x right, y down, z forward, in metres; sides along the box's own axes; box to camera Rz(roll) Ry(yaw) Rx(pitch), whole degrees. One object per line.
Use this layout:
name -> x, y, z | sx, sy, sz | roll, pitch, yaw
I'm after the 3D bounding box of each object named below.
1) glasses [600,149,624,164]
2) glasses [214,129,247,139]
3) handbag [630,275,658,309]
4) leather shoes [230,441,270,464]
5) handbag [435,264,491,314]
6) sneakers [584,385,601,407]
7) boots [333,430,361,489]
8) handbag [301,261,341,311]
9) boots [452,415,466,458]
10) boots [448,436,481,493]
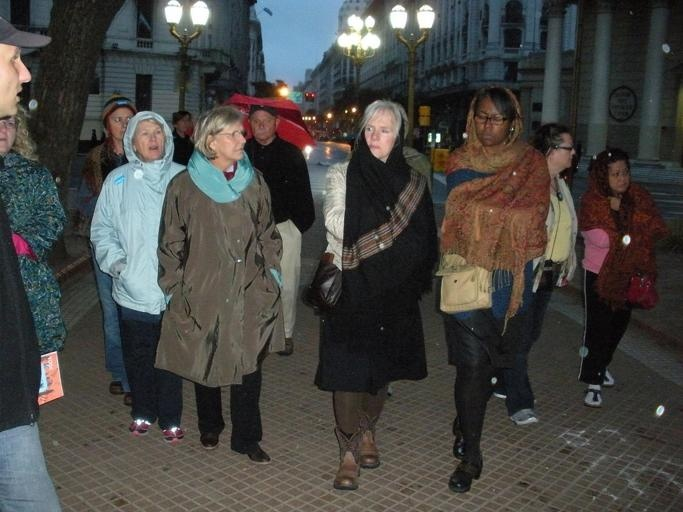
glasses -> 2.375, -0.882, 5.420 | 0.195, 0.156, 0.044 | -1, -31, 11
glasses -> -0.749, -0.839, 4.184 | 0.219, 0.082, 0.070 | -8, 16, -39
handbag -> 2.630, 0.311, 5.372 | 0.255, 0.288, 0.107 | 3, -3, 2
leather shoes -> -0.626, 1.390, 4.392 | 0.320, 0.112, 0.107 | 9, 15, 29
handbag -> 0.818, 0.219, 4.056 | 0.338, 0.265, 0.175 | -6, -17, 36
sneakers -> 2.191, 1.219, 5.370 | 0.104, 0.091, 0.230 | 0, 13, 13
boots -> 0.049, 1.340, 4.082 | 0.187, 0.309, 0.419 | 0, 6, 7
handbag -> -0.124, 0.223, 3.970 | 0.197, 0.362, 0.256 | -6, 15, -31
boots -> 0.883, 1.342, 4.501 | 0.092, 0.111, 0.263 | -3, 50, 7
boots -> 0.838, 1.408, 4.163 | 0.153, 0.171, 0.426 | 5, 18, 23
